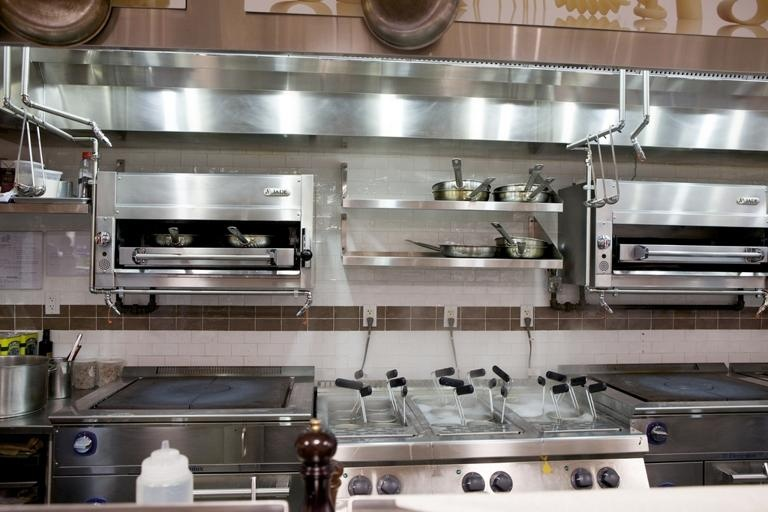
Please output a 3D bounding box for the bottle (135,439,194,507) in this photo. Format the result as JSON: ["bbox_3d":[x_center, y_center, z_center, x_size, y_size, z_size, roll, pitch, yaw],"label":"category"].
[{"bbox_3d":[-0.872,0.877,3.439,0.205,0.184,0.139,0,-38,-16],"label":"bottle"}]

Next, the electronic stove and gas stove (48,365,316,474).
[{"bbox_3d":[-1.046,0.930,4.936,1.351,0.378,0.846,-1,13,0],"label":"electronic stove and gas stove"}]

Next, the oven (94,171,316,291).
[{"bbox_3d":[-0.922,-0.121,5.080,1.440,0.710,0.715,1,4,16],"label":"oven"}]

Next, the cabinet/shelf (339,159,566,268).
[{"bbox_3d":[0.198,-0.329,5.498,0.395,0.514,1.148,-7,6,-39],"label":"cabinet/shelf"}]

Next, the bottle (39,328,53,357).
[{"bbox_3d":[-2.051,0.524,5.264,0.082,0.153,0.109,2,-38,-19],"label":"bottle"}]

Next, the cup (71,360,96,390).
[{"bbox_3d":[-1.767,0.707,5.101,0.144,0.143,0.163,1,-5,-3],"label":"cup"}]

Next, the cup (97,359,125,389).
[{"bbox_3d":[-1.635,0.691,5.156,0.169,0.131,0.155,1,-4,0],"label":"cup"}]
